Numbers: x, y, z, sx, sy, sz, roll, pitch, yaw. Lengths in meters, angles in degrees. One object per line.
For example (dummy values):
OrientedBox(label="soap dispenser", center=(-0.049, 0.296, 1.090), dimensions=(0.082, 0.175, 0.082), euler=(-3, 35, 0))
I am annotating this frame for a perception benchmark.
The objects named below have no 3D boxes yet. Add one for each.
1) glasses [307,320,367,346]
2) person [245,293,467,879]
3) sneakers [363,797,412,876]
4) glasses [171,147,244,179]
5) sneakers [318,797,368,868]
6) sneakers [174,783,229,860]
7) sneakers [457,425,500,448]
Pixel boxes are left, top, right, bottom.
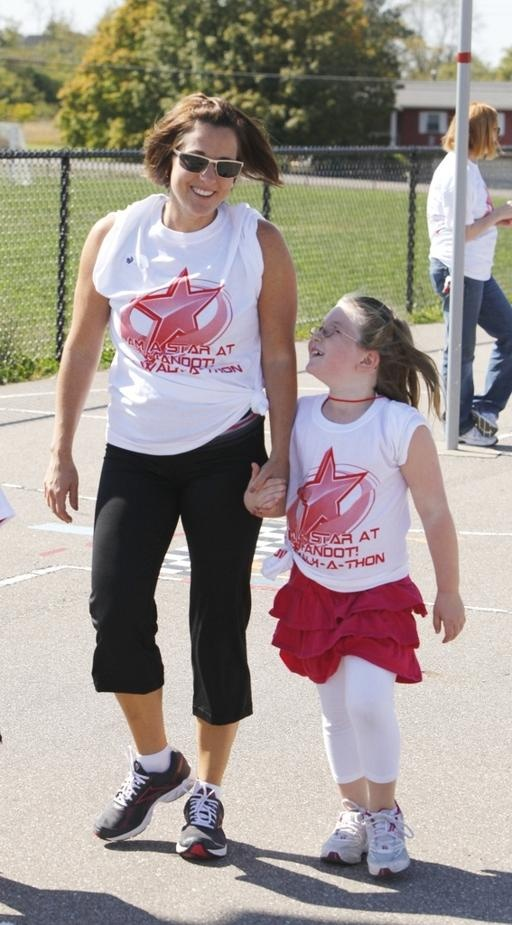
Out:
OrientedBox(label="glasses", center=(0.194, -0.310, 2.117), dimensions=(0.077, 0.022, 0.071), euler=(20, -4, -24))
OrientedBox(label="person", center=(0.250, 0.251, 2.114), dimensions=(0.460, 1.251, 0.482), euler=(5, 10, 22))
OrientedBox(label="sneakers", center=(0.285, 0.813, 1.973), dimensions=(0.066, 0.063, 0.166), euler=(-7, -1, 2))
OrientedBox(label="glasses", center=(-0.107, -0.661, 2.037), dimensions=(0.151, 0.072, 0.104), euler=(1, 9, -5))
OrientedBox(label="sneakers", center=(0.199, 0.835, 2.046), dimensions=(0.062, 0.080, 0.172), euler=(4, -6, 16))
OrientedBox(label="sneakers", center=(-0.125, 0.808, 2.102), dimensions=(0.113, 0.158, 0.176), euler=(1, 9, -3))
OrientedBox(label="sneakers", center=(1.590, -0.183, 6.581), dimensions=(0.295, 0.121, 0.118), euler=(5, 12, 25))
